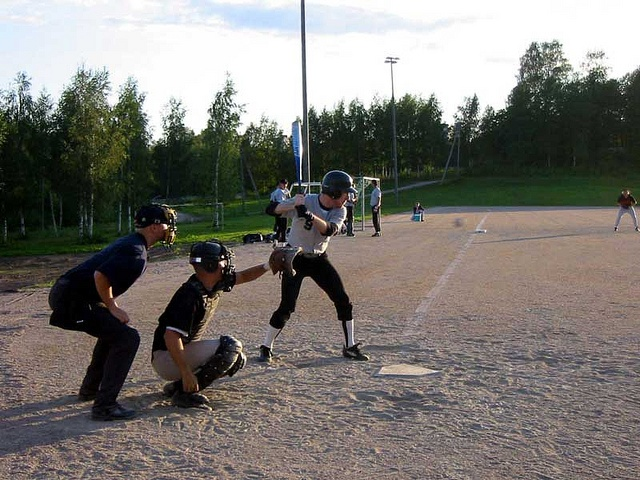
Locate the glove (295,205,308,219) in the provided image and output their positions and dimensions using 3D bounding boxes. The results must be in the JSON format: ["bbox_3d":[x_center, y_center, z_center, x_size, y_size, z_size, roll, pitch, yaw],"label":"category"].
[{"bbox_3d":[-0.207,-0.341,7.093,0.093,0.147,0.217,-6,7,-31],"label":"glove"}]

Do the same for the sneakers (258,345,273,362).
[{"bbox_3d":[-0.662,1.401,7.413,0.088,0.186,0.269,3,4,22],"label":"sneakers"}]

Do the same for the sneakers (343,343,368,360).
[{"bbox_3d":[0.443,1.385,7.504,0.368,0.217,0.137,4,1,2],"label":"sneakers"}]

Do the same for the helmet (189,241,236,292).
[{"bbox_3d":[-1.092,0.239,6.325,0.535,0.537,0.427,-7,10,-28],"label":"helmet"}]

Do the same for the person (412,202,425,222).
[{"bbox_3d":[5.745,-1.664,35.362,0.633,0.992,1.079,-2,6,3],"label":"person"}]

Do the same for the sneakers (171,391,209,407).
[{"bbox_3d":[-1.286,1.603,6.106,0.301,0.129,0.167,0,2,-4],"label":"sneakers"}]

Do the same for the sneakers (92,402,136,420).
[{"bbox_3d":[-1.952,1.628,5.724,0.360,0.165,0.171,-1,3,-11],"label":"sneakers"}]

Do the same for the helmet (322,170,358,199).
[{"bbox_3d":[0.252,-0.697,7.515,0.367,0.290,0.288,6,15,9],"label":"helmet"}]

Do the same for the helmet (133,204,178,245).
[{"bbox_3d":[-1.677,-0.150,6.122,0.432,0.430,0.339,-2,4,-26],"label":"helmet"}]

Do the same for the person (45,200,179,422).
[{"bbox_3d":[-1.971,0.676,5.873,1.184,1.996,0.547,-5,7,-27],"label":"person"}]
